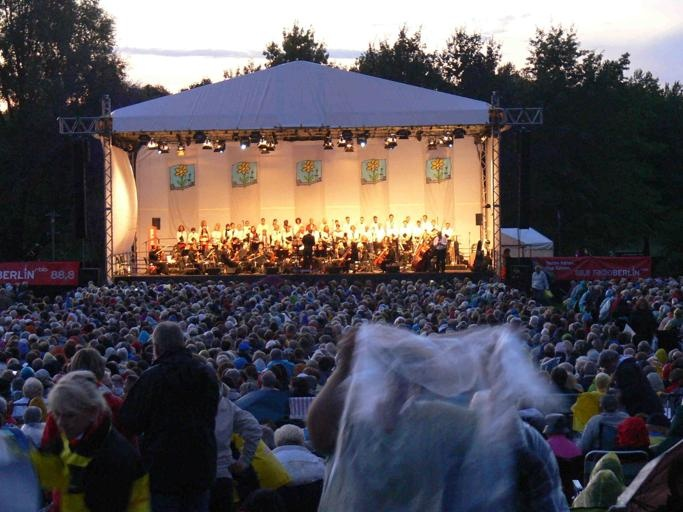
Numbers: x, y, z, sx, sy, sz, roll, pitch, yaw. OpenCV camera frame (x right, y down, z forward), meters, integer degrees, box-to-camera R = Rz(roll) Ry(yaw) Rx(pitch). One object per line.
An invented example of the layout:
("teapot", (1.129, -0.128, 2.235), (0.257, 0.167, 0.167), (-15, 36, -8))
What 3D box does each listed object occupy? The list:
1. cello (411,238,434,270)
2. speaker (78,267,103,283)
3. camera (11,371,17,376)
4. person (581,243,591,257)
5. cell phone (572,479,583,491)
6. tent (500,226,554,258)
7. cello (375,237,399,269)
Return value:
("cello", (2.639, 0.041, 33.773), (0.286, 0.941, 0.639), (21, 2, -16))
("speaker", (-7.360, 0.586, 31.326), (0.771, 0.450, 0.558), (4, 2, -12))
("camera", (-5.745, 2.069, 18.766), (0.087, 0.141, 0.089), (0, -1, -11))
("person", (9.521, -0.190, 41.492), (0.311, 0.664, 1.204), (0, -9, 12))
("cell phone", (3.745, 3.637, 16.943), (0.044, 0.138, 0.196), (1, 13, -25))
("tent", (6.274, -0.414, 36.053), (1.286, 1.007, 1.266), (0, -5, 1))
("cello", (1.497, -0.028, 34.101), (0.358, 1.100, 0.544), (10, -6, -9))
